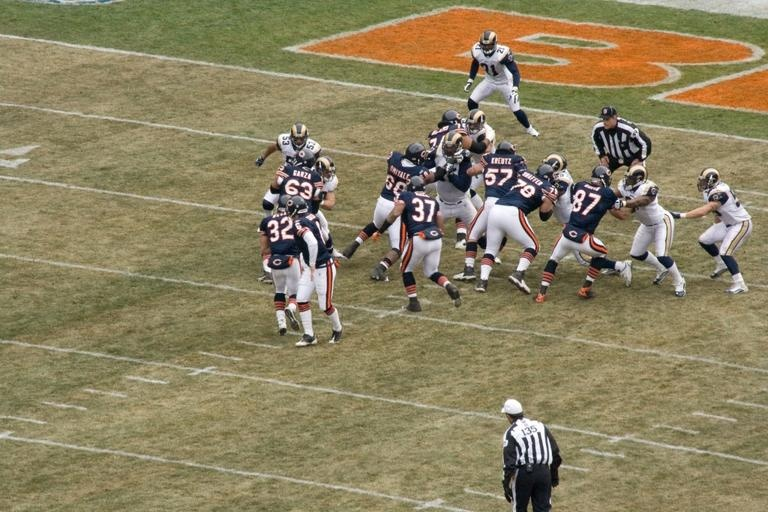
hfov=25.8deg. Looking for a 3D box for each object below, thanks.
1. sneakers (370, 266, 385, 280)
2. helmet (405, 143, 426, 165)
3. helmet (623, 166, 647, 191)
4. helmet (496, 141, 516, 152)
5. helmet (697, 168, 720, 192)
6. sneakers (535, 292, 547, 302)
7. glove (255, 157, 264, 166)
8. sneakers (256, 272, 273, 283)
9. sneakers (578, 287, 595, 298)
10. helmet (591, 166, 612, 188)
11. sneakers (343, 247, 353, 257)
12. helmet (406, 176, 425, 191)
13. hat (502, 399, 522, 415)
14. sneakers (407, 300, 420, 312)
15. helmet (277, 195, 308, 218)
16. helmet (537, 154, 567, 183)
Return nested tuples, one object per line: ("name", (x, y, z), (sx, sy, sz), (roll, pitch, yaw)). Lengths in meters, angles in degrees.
("sneakers", (-0.097, 0.307, 29.442), (0.246, 0.099, 0.251), (0, 34, 11))
("helmet", (0.536, -1.766, 29.264), (0.332, 0.372, 0.284), (3, 19, -1))
("helmet", (4.387, -1.309, 29.065), (0.355, 0.437, 0.475), (-3, 19, -19))
("helmet", (2.120, -1.898, 29.712), (0.316, 0.204, 0.345), (8, 13, 21))
("helmet", (5.614, -1.307, 29.276), (0.587, 0.367, 0.450), (-2, 11, 7))
("sneakers", (2.671, 0.701, 28.887), (0.137, 0.071, 0.187), (4, 22, 18))
("glove", (-2.285, -1.762, 31.322), (0.152, 0.085, 0.201), (16, 42, -6))
("sneakers", (-2.024, 0.378, 29.275), (0.303, 0.113, 0.196), (-12, 18, 20))
("sneakers", (3.464, 0.604, 29.037), (0.261, 0.212, 0.298), (5, 17, 5))
("helmet", (3.717, -1.356, 28.935), (0.318, 0.338, 0.420), (5, 17, 4))
("sneakers", (-0.637, -0.063, 29.917), (0.112, 0.106, 0.177), (31, 50, 28))
("helmet", (0.540, -1.227, 28.719), (0.290, 0.256, 0.275), (14, 31, -13))
("hat", (1.869, 2.202, 24.710), (0.289, 0.134, 0.314), (-6, 17, -19))
("sneakers", (0.498, 0.849, 28.585), (0.242, 0.179, 0.104), (19, 47, 31))
("helmet", (-1.490, -0.835, 27.728), (0.311, 0.338, 0.571), (-9, 20, -32))
("helmet", (2.930, -1.536, 29.347), (0.654, 0.409, 0.403), (0, 18, 4))
